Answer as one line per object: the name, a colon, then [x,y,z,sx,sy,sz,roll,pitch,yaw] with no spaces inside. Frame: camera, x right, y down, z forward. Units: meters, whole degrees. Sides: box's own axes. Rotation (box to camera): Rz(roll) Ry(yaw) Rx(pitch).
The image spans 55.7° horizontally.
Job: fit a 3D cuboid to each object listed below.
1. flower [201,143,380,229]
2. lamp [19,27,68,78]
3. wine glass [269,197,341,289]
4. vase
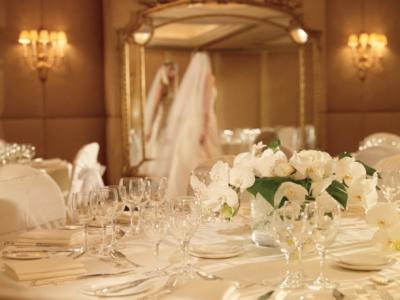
flower: [0.321,0.109,1.353,0.449,0.197,0.324,-4,-6,2]
lamp: [-2.016,-1.243,4.807,0.565,0.643,0.270,-1,12,-15]
wine glass: [0.299,0.258,1.067,0.140,0.235,0.176,4,7,44]
vase: [0.259,0.240,1.437,0.155,0.287,0.169,-2,2,37]
